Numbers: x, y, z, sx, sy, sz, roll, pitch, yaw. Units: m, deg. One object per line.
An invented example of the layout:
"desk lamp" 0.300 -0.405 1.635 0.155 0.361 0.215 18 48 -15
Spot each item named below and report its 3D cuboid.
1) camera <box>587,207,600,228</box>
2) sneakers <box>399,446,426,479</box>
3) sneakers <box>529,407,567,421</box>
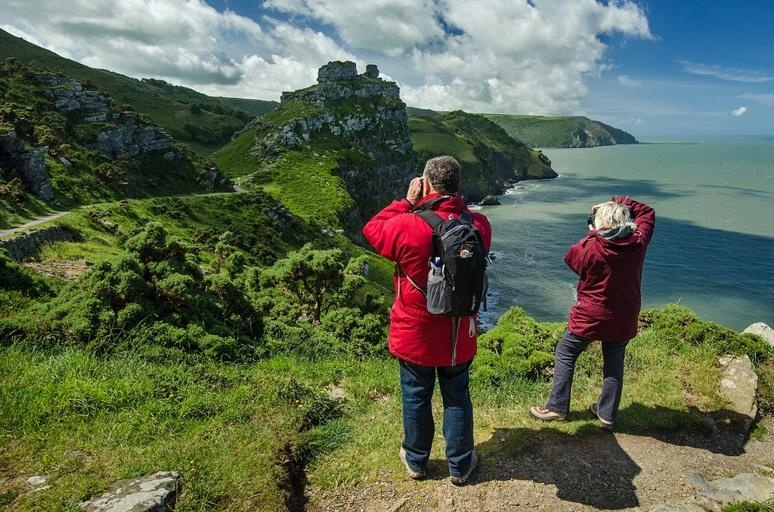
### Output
"camera" 3.835 -0.725 8.847 0.140 0.311 0.349 12 8 21
"sneakers" 0.416 3.453 7.827 0.257 0.259 0.650 0 -9 -10
"sneakers" 2.975 2.944 8.821 0.505 0.187 0.257 -1 5 23
